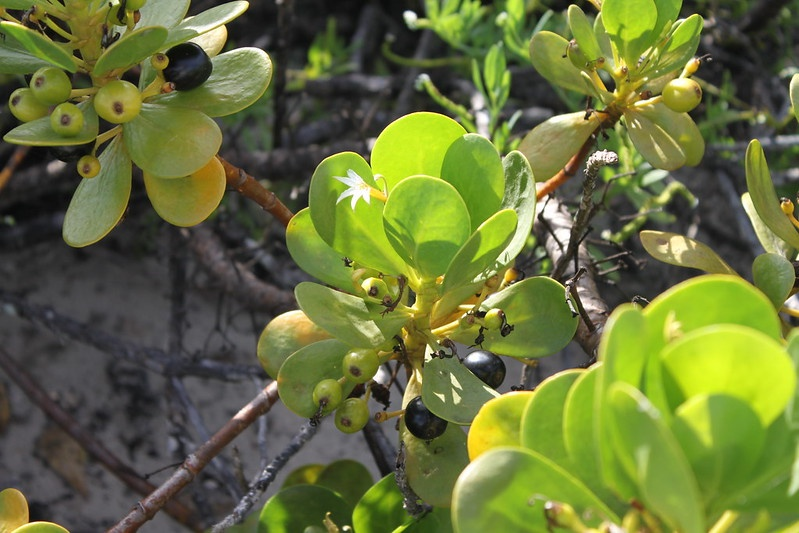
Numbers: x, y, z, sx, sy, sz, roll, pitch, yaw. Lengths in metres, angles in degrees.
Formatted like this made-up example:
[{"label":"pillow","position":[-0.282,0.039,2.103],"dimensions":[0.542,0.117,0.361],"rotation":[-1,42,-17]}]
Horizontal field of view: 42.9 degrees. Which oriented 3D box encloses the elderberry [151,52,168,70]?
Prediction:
[{"label":"elderberry","position":[-0.707,-0.605,2.998],"dimensions":[0.052,0.052,0.029],"rotation":[13,17,-18]}]
